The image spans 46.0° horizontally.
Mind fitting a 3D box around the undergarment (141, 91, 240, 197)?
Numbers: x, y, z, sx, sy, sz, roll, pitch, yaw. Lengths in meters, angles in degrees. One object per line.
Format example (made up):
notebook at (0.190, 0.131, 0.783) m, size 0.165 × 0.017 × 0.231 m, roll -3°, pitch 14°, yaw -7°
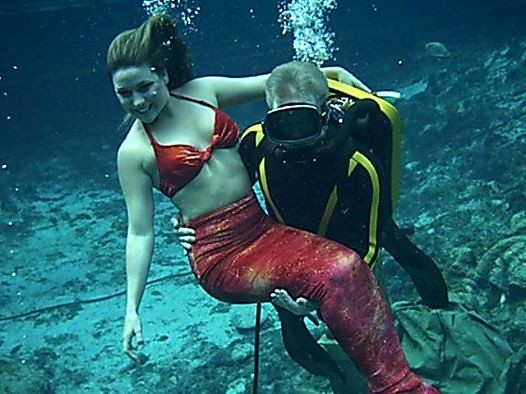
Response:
undergarment at (-0.766, -0.432, 6.177) m, size 0.952 × 0.531 × 0.873 m, roll -47°, pitch 39°, yaw -15°
